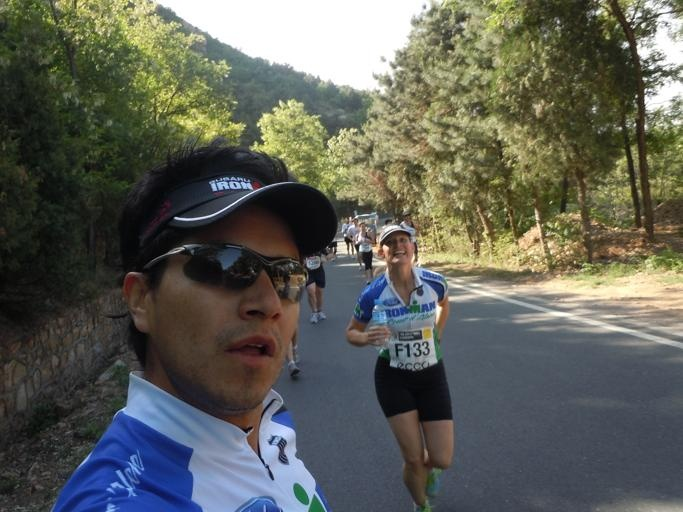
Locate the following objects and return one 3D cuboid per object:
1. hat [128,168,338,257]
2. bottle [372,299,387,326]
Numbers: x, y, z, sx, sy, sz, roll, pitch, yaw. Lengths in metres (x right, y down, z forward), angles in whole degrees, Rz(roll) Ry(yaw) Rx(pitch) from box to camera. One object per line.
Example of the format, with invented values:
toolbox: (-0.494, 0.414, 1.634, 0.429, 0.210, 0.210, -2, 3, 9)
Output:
hat: (-0.574, -0.218, 2.322, 0.681, 0.277, 0.478, -19, -11, 34)
bottle: (0.353, 0.550, 4.665, 0.116, 0.172, 0.286, -4, 7, 0)
